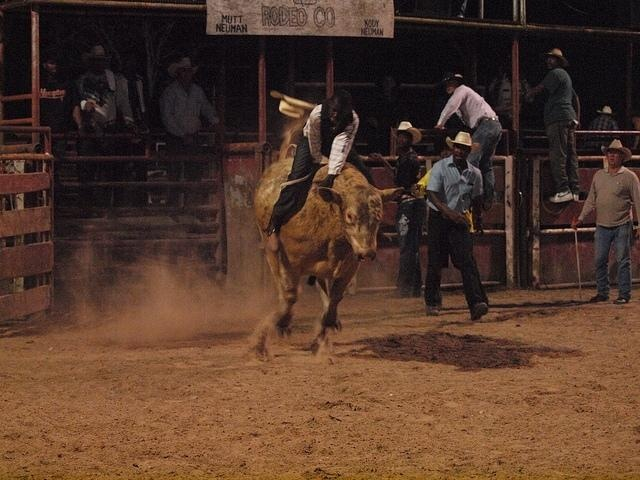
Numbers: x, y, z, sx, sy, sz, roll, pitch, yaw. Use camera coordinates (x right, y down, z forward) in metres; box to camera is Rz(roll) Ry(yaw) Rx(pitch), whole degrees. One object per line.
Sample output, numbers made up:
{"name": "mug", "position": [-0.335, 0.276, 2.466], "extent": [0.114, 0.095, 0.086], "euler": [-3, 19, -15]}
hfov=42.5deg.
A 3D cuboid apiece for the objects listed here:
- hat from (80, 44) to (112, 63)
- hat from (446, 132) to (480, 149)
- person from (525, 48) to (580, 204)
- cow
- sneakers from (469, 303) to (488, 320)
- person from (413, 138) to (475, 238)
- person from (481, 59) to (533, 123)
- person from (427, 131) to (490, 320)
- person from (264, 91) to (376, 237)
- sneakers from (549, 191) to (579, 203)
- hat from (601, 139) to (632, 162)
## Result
{"name": "hat", "position": [-3.680, -3.103, 13.673], "extent": [0.405, 0.263, 0.375], "euler": [6, 14, 28]}
{"name": "hat", "position": [2.105, -1.466, 12.084], "extent": [0.420, 0.187, 0.503], "euler": [5, -12, 10]}
{"name": "person", "position": [4.114, -1.956, 14.148], "extent": [0.736, 2.592, 0.841], "euler": [3, 12, 17]}
{"name": "cow", "position": [-0.072, 0.166, 9.837], "extent": [1.081, 2.082, 2.103], "euler": [-10, 15, -37]}
{"name": "sneakers", "position": [2.124, 0.969, 11.139], "extent": [0.152, 0.142, 0.334], "euler": [12, -33, -21]}
{"name": "person", "position": [1.791, -0.691, 11.809], "extent": [0.383, 1.536, 0.824], "euler": [11, 29, -5]}
{"name": "person", "position": [3.515, -2.573, 15.251], "extent": [0.895, 0.625, 1.635], "euler": [0, -23, -5]}
{"name": "person", "position": [1.891, -0.154, 11.325], "extent": [0.966, 2.621, 0.720], "euler": [7, 14, 33]}
{"name": "person", "position": [-0.079, -0.819, 9.955], "extent": [1.078, 1.204, 1.613], "euler": [7, -30, -19]}
{"name": "sneakers", "position": [4.158, -0.727, 14.105], "extent": [0.534, 0.230, 0.197], "euler": [-1, 4, -1]}
{"name": "hat", "position": [4.648, -1.465, 12.719], "extent": [0.414, 0.197, 0.494], "euler": [13, -18, 46]}
